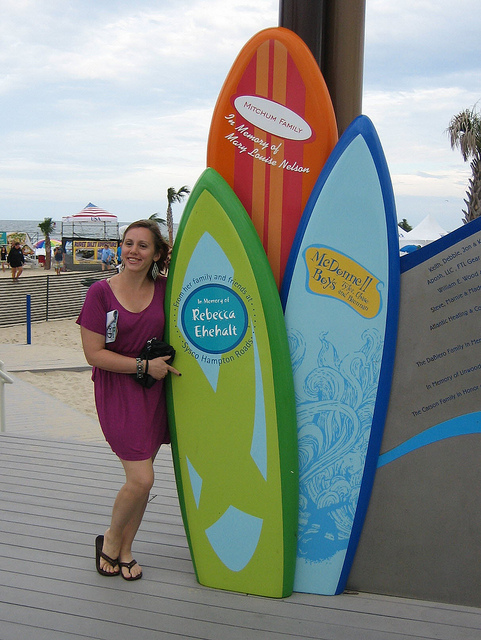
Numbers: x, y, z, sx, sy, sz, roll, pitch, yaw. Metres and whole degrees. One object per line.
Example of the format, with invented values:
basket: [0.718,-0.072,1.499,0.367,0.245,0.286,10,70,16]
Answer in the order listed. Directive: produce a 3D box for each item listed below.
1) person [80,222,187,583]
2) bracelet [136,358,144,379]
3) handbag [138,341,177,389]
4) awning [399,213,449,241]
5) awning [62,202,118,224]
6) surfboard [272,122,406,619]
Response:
person: [-0.405,0.319,2.115,0.359,1.346,0.282,-6,9,-37]
bracelet: [-0.352,0.170,2.002,0.024,0.074,0.020,-1,7,-8]
handbag: [-0.308,0.154,2.039,0.124,0.158,0.056,32,-6,-12]
awning: [5.821,-2.995,18.196,1.186,0.858,2.352,2,7,17]
awning: [-7.686,-5.511,29.227,2.349,0.998,1.966,6,9,39]
surfboard: [0.350,0.163,2.015,0.473,1.686,0.291,0,7,2]
